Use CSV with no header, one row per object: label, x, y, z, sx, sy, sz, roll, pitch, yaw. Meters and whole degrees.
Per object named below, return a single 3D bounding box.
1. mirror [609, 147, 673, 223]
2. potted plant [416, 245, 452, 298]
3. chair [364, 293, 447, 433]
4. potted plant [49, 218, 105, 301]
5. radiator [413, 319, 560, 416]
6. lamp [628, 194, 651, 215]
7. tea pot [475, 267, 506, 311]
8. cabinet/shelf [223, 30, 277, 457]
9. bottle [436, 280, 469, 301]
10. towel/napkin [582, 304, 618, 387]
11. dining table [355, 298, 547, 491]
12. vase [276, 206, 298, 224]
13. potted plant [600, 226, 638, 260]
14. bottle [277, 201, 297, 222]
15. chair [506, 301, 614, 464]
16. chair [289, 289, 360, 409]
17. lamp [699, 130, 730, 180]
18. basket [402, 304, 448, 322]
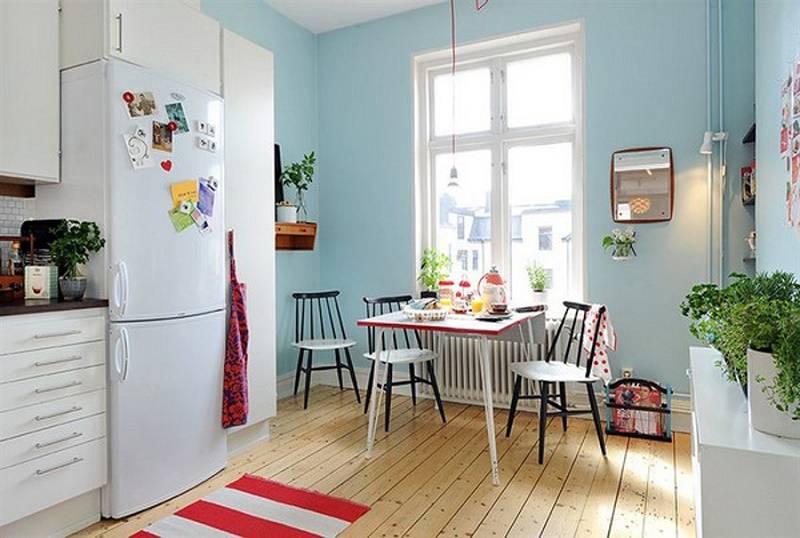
mirror,1.942,-0.673,4.241,0.601,0.799,0.078,0,0,29
potted plant,0.279,0.039,4.968,0.391,0.672,0.408,1,0,12
chair,0.021,0.771,4.499,0.722,1.006,0.754,-1,3,6
potted plant,-1.937,-0.051,3.189,0.332,0.472,0.219,7,15,31
radiator,0.753,0.804,4.354,0.824,0.607,0.092,-1,0,26
lamp,1.914,-0.516,4.242,0.129,0.112,0.132,1,-3,2
tea pot,0.760,0.168,4.283,0.223,0.366,0.339,5,-9,-38
cabinet/shelf,-1.088,-0.221,3.981,0.322,2.984,0.853,-2,13,-6
bottle,0.454,0.120,4.535,0.284,0.281,0.170,2,2,5
towel/napkin,1.409,0.534,3.778,0.213,0.564,0.214,4,14,19
dining table,0.410,0.701,4.142,1.432,1.229,1.134,-1,-1,29
vase,-1.021,-0.496,4.816,0.164,0.166,0.169,0,-2,10
potted plant,1.769,-0.191,4.317,0.253,0.188,0.252,0,-6,-8
bottle,-1.024,-0.508,4.824,0.175,0.174,0.176,1,-4,-22
chair,1.175,0.797,3.994,0.611,1.053,0.705,-1,2,-21
chair,-0.700,0.717,4.928,0.570,0.986,0.526,-1,4,-19
lamp,2.359,-0.870,4.011,0.191,0.349,0.189,7,15,30
basket,0.167,0.327,3.888,0.311,0.085,0.173,5,14,24
